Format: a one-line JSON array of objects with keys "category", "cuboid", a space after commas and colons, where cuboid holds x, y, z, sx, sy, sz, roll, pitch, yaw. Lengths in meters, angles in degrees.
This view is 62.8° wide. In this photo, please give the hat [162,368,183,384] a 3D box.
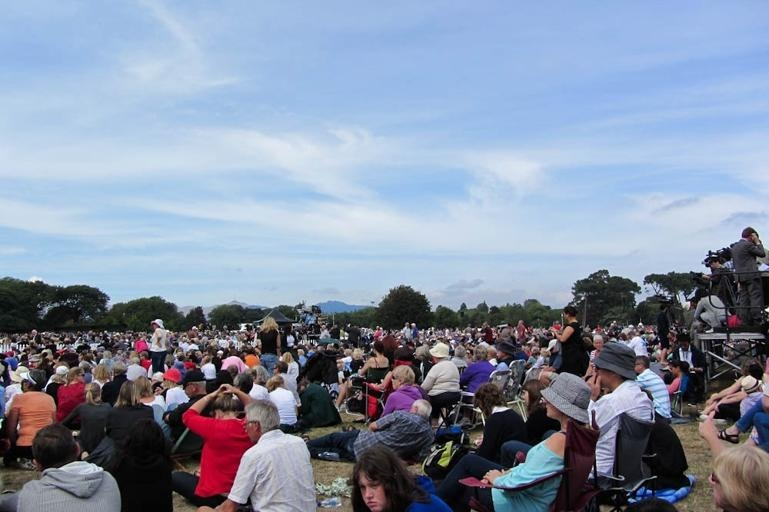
[{"category": "hat", "cuboid": [-4.270, 2.388, 12.635, 0.324, 0.176, 0.333, 5, -2, -19]}]

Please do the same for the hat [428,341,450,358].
[{"category": "hat", "cuboid": [1.219, 2.100, 14.202, 0.376, 0.191, 0.356, 18, 4, 32]}]

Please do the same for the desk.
[{"category": "desk", "cuboid": [8.494, 2.655, 15.365, 1.119, 0.990, 1.931, -1, 0, -17]}]

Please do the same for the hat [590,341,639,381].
[{"category": "hat", "cuboid": [3.315, 1.467, 9.062, 0.556, 0.282, 0.474, 21, 4, 17]}]
